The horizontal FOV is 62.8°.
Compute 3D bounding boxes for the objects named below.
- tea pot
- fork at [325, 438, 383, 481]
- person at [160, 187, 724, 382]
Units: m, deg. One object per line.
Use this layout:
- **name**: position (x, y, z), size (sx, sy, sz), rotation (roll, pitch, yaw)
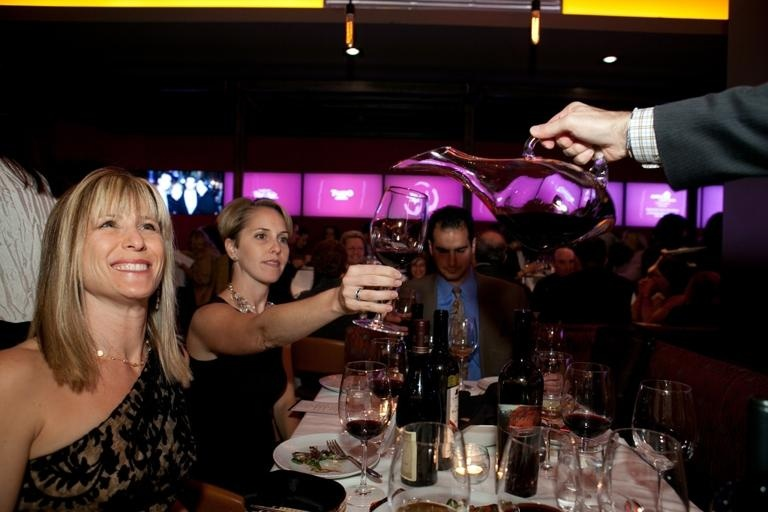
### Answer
- **tea pot**: position (0.521, -0.252, 2.870), size (0.921, 0.501, 0.420), rotation (11, -1, 13)
- **fork**: position (-0.138, 0.931, 2.857), size (0.061, 0.049, 0.433), rotation (-18, 29, -30)
- **person**: position (-0.027, 0.183, 3.570), size (1.939, 0.743, 1.125), rotation (5, -2, -10)
